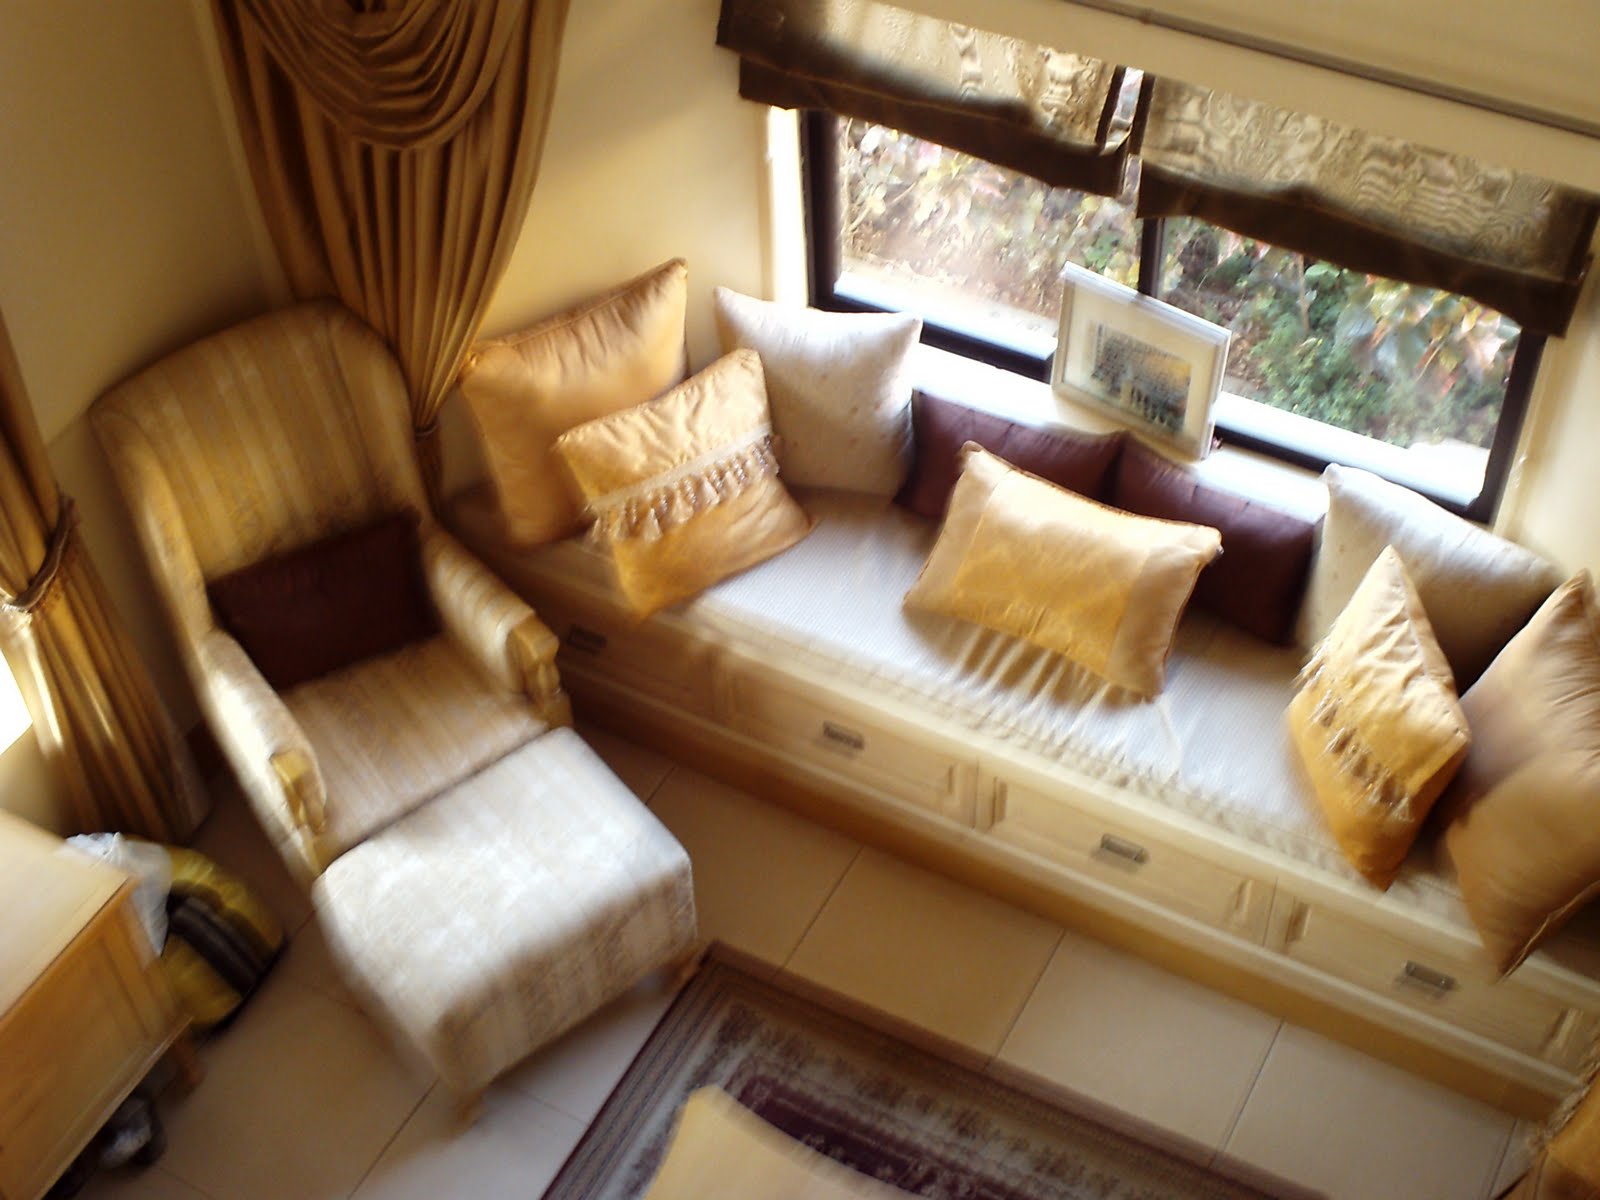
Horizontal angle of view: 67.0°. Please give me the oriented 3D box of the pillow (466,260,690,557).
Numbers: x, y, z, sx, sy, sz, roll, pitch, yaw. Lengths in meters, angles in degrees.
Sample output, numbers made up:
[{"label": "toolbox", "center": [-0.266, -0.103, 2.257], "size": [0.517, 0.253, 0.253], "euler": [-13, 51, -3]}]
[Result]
[{"label": "pillow", "center": [-0.574, -0.508, 3.168], "size": [0.530, 0.590, 0.194], "euler": [-25, 22, -11]}]

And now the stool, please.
[{"label": "stool", "center": [-0.713, 0.719, 2.874], "size": [0.886, 0.456, 0.706], "euler": [-30, 63, -22]}]

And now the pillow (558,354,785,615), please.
[{"label": "pillow", "center": [-0.332, -0.306, 3.165], "size": [0.469, 0.424, 0.232], "euler": [-31, 47, -16]}]

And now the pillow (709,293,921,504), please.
[{"label": "pillow", "center": [0.035, -0.529, 3.279], "size": [0.450, 0.505, 0.173], "euler": [12, 34, 11]}]
